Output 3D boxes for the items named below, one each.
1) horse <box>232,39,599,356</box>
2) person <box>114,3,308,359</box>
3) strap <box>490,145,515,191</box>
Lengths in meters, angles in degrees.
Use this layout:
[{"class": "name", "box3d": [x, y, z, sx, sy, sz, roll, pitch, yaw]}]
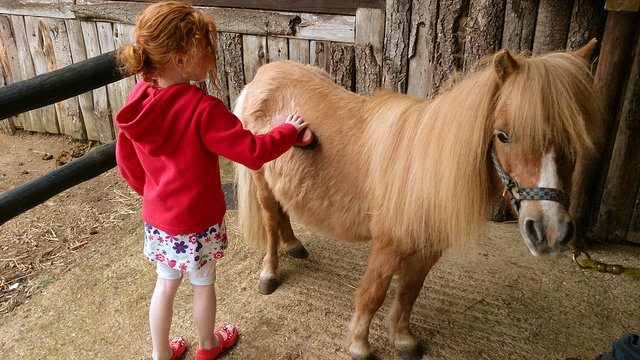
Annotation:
[{"class": "horse", "box3d": [0.853, 0.273, 3.799, 2.276, 2.025, 0.814, 21, 26, 32]}, {"class": "person", "box3d": [-0.976, 0.100, 3.525, 1.193, 2.775, 0.772, -5, 23, -17]}, {"class": "strap", "box3d": [1.381, -0.083, 3.304, 0.065, 0.260, 0.194, -25, 10, 3]}]
